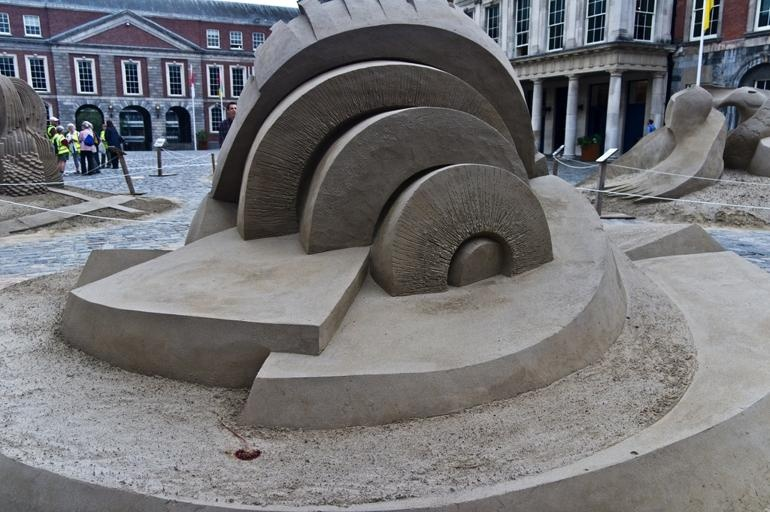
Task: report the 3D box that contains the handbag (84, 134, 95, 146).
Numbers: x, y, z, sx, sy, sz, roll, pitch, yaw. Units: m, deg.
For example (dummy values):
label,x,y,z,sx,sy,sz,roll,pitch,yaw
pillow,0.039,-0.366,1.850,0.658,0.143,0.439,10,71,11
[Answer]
label,x,y,z,sx,sy,sz,roll,pitch,yaw
handbag,-10.169,-3.975,17.444,0.324,0.299,0.268,1,7,-26

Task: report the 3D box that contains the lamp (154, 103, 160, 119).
label,x,y,z,sx,sy,sz,roll,pitch,yaw
lamp,-17.043,-10.900,38.191,0.466,1.199,0.202,-10,18,-29
